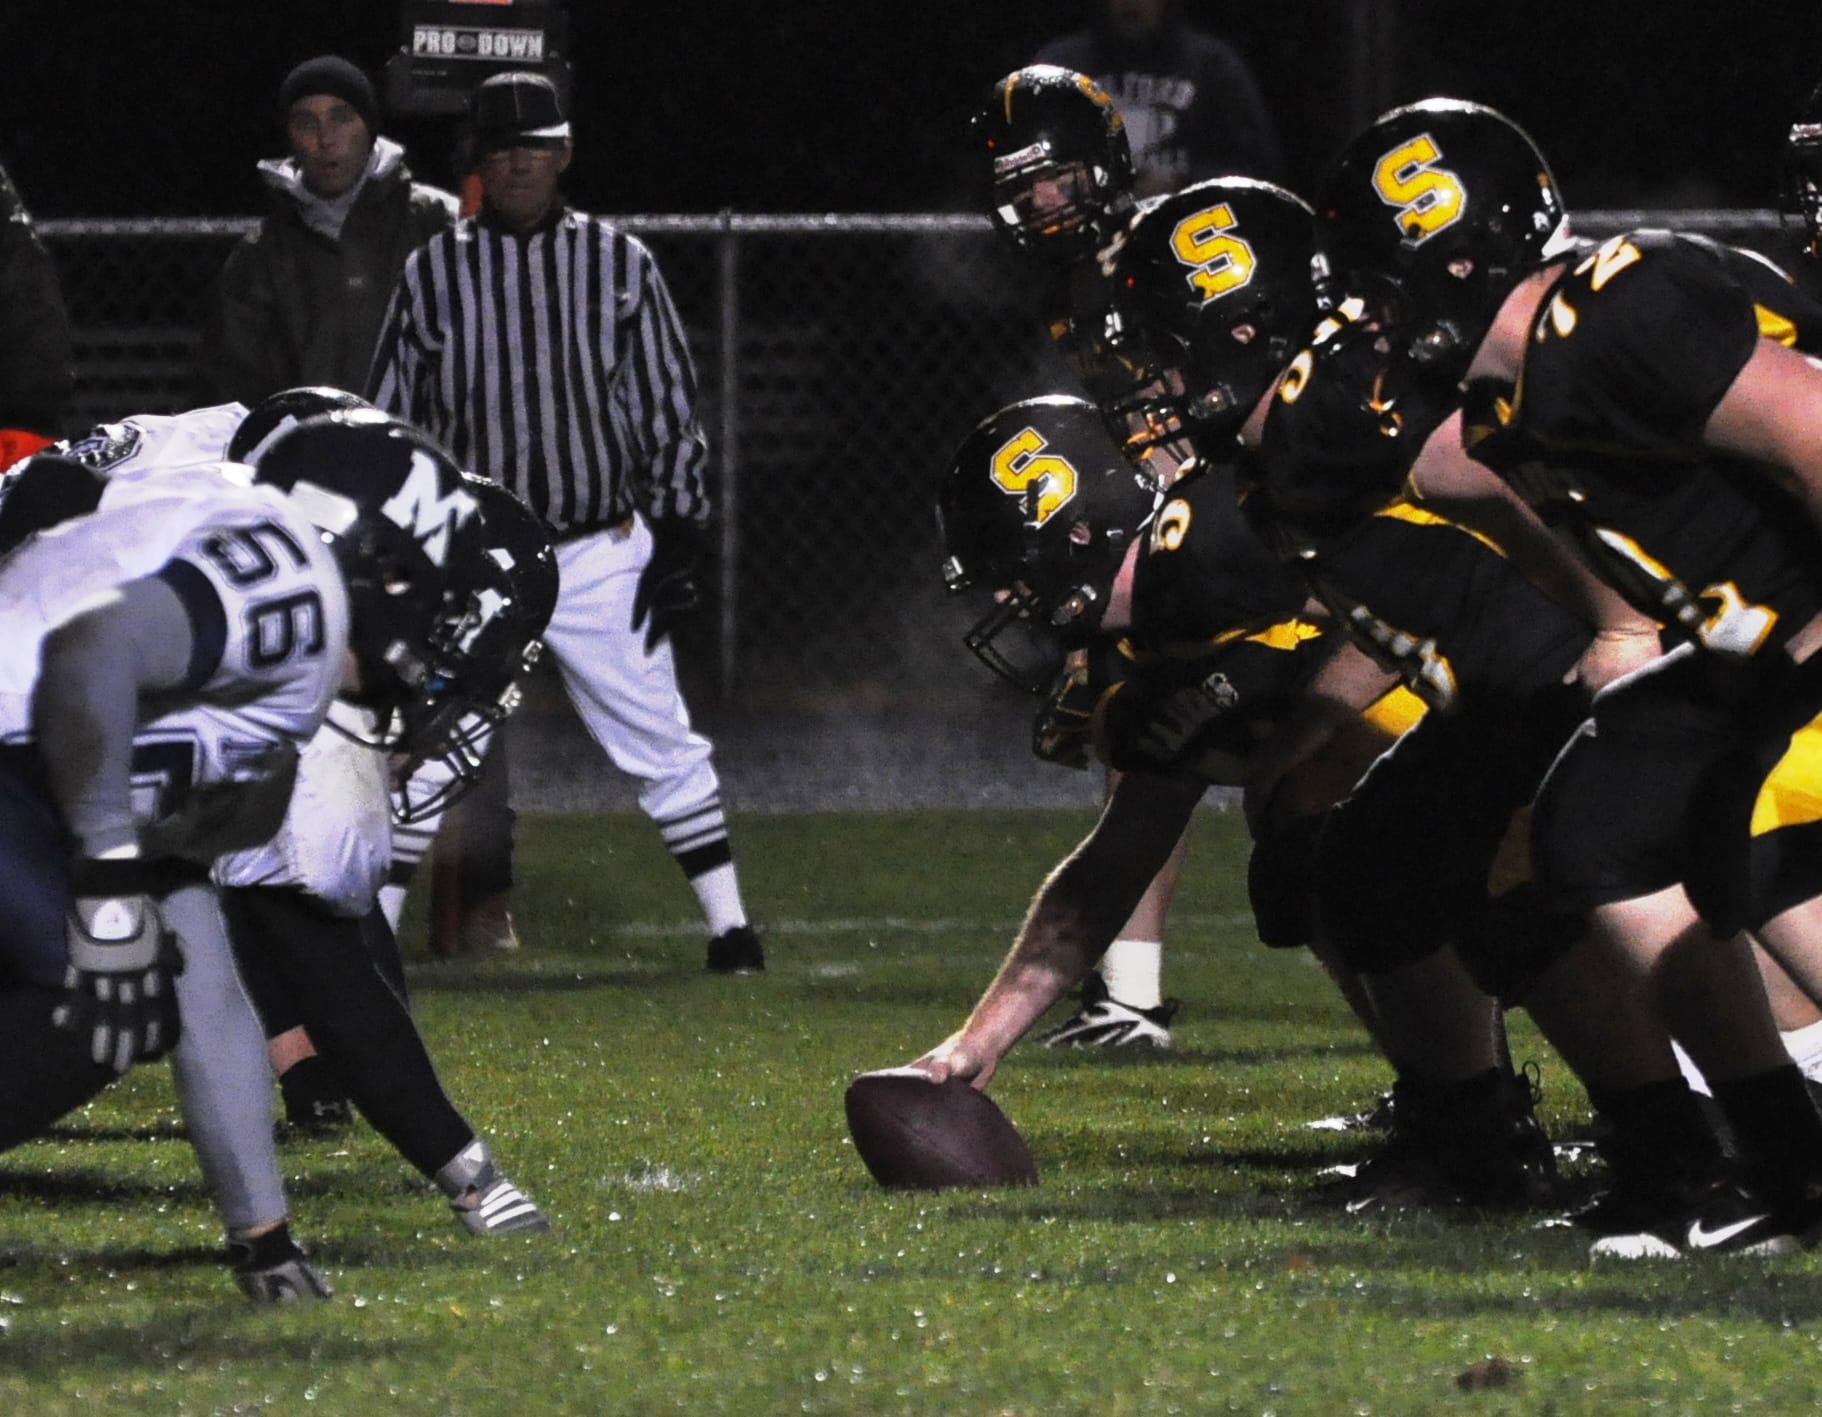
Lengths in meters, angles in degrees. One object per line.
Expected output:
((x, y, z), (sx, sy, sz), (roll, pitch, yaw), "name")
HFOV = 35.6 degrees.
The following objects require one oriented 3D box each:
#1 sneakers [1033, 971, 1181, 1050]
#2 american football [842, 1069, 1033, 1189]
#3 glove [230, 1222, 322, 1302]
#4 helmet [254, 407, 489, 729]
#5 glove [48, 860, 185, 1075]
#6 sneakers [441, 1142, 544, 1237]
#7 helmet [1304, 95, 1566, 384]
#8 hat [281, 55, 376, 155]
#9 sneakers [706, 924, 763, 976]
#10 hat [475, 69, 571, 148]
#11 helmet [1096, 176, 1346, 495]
((0.365, 0.604, 5.548), (0.327, 0.138, 0.105), (4, -8, 1), "sneakers")
((0.033, 0.628, 4.173), (0.260, 0.103, 0.330), (7, 13, -22), "american football")
((-0.791, 0.700, 3.563), (0.108, 0.106, 0.134), (-2, 19, -23), "glove")
((-0.708, -0.185, 3.628), (0.244, 0.356, 0.204), (16, 21, 31), "helmet")
((-0.932, 0.308, 3.342), (0.143, 0.296, 0.152), (0, 18, -16), "glove")
((-0.579, 0.672, 3.903), (0.094, 0.151, 0.053), (-38, -2, -20), "sneakers")
((0.753, -0.677, 3.985), (0.353, 0.328, 0.259), (-3, -8, 21), "helmet")
((-1.371, -1.447, 6.683), (0.246, 0.233, 0.181), (0, 47, -8), "hat")
((-0.388, 0.544, 6.348), (0.126, 0.118, 0.090), (-1, 0, 24), "sneakers")
((-0.903, -1.386, 6.522), (0.166, 0.119, 0.228), (-6, 11, -8), "hat")
((0.518, -0.574, 4.338), (0.449, 0.419, 0.366), (-12, -10, 18), "helmet")
